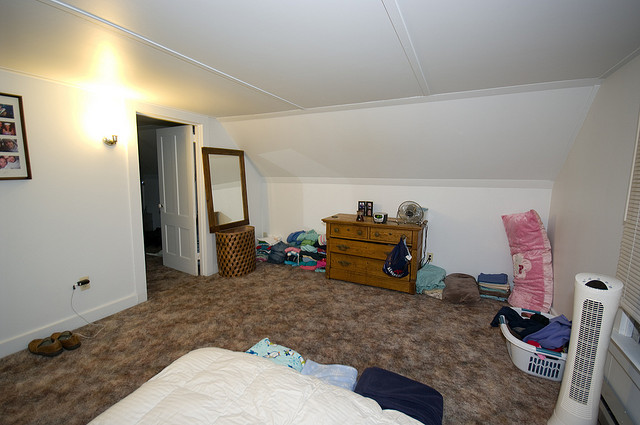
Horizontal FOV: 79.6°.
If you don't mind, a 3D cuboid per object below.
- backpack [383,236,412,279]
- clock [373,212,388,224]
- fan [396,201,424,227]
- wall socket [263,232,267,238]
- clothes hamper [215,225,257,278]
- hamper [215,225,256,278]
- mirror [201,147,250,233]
[{"bbox_3d":[1.036,0.582,5.085,0.288,0.554,0.363,-10,32,-22],"label":"backpack"},{"bbox_3d":[0.867,0.076,5.397,0.209,0.153,0.142,-9,-7,40],"label":"clock"},{"bbox_3d":[1.251,0.003,5.309,0.369,0.313,0.245,4,7,15],"label":"fan"},{"bbox_3d":[-0.980,0.396,6.854,0.058,0.105,0.057,-4,12,-15],"label":"wall socket"},{"bbox_3d":[-1.225,0.533,5.833,0.516,0.733,0.691,5,11,24],"label":"clothes hamper"},{"bbox_3d":[-1.298,0.626,5.924,0.598,0.659,0.595,-7,1,-34],"label":"hamper"},{"bbox_3d":[-1.425,-0.365,5.886,0.057,1.254,0.943,-1,6,26],"label":"mirror"}]
